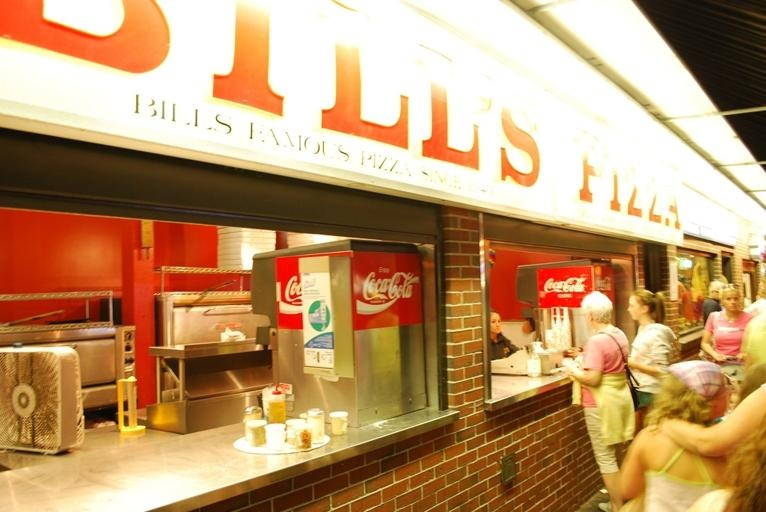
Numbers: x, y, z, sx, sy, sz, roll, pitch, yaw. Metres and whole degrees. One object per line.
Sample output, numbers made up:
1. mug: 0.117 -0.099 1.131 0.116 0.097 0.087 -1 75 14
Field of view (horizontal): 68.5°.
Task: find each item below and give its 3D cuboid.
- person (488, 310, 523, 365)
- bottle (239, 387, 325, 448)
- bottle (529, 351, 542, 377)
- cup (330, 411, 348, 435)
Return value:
1. person: 1.408 0.907 6.560 0.304 0.587 1.017 3 8 13
2. bottle: -0.636 1.053 3.653 0.412 0.204 0.384 0 -3 0
3. bottle: 1.530 1.091 5.694 0.125 0.206 0.187 3 8 15
4. cup: -0.294 1.127 3.796 0.105 0.101 0.156 -4 -10 17
